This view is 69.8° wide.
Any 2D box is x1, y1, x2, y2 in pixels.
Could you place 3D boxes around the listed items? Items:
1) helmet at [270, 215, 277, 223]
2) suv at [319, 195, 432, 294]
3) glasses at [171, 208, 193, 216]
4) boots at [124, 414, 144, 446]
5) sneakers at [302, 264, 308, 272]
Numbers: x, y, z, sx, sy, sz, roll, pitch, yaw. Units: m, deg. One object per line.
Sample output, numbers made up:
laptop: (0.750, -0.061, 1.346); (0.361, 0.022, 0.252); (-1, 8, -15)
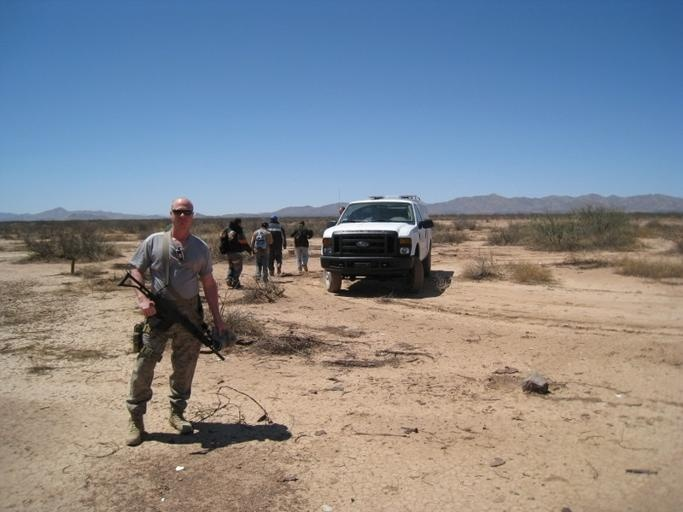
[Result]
helmet: (-2.048, -1.123, 14.645); (0.220, 0.175, 0.196); (-2, 4, -34)
suv: (1.185, -0.527, 13.422); (2.014, 1.545, 3.591); (-1, -2, 14)
glasses: (-1.665, -0.460, 5.081); (0.212, 0.082, 0.183); (-2, 12, -18)
boots: (-2.169, 1.776, 5.108); (0.180, 0.290, 0.249); (-3, 12, -20)
sneakers: (-1.309, 0.403, 16.953); (0.132, 0.351, 0.257); (-3, 20, 4)
